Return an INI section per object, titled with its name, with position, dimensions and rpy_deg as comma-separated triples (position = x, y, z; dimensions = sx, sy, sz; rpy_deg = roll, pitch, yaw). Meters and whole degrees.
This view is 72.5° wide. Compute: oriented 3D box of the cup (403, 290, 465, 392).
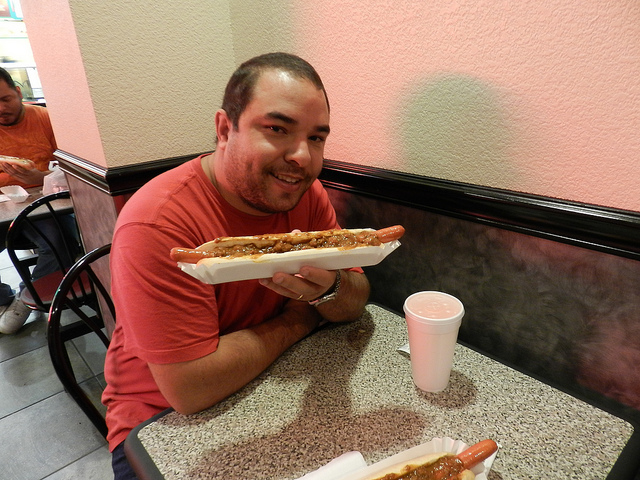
[cup]
position = 0.363, 0.330, 1.447
dimensions = 0.181, 0.298, 0.169
rpy_deg = 0, 25, 0
